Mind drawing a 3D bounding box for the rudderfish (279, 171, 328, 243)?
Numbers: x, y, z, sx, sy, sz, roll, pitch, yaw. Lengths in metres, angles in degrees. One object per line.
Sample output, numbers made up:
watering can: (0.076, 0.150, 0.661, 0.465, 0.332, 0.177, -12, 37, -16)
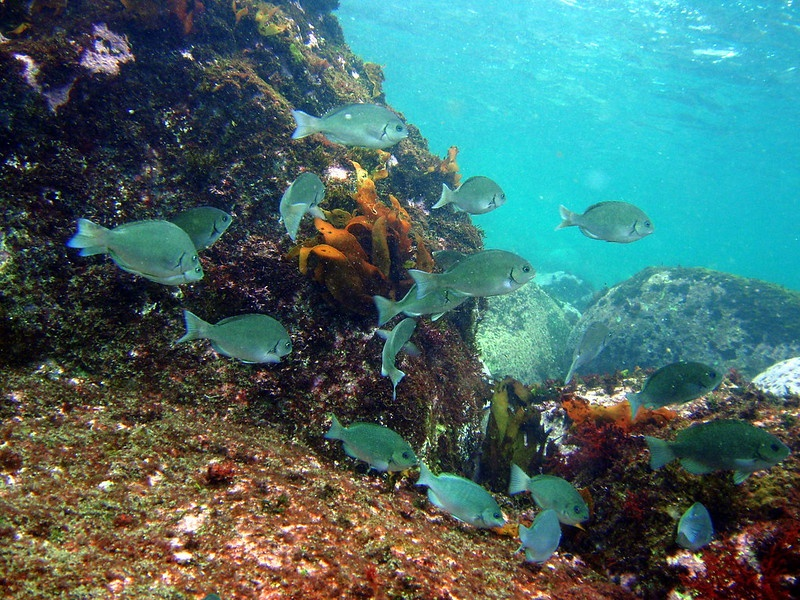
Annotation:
rudderfish: (-1.929, -1.855, 13.430, 0.481, 1.031, 1.025, 31, 47, 26)

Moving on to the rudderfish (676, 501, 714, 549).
rudderfish: (5.346, 4.108, 12.278, 0.600, 0.688, 0.557, 33, 48, 27)
